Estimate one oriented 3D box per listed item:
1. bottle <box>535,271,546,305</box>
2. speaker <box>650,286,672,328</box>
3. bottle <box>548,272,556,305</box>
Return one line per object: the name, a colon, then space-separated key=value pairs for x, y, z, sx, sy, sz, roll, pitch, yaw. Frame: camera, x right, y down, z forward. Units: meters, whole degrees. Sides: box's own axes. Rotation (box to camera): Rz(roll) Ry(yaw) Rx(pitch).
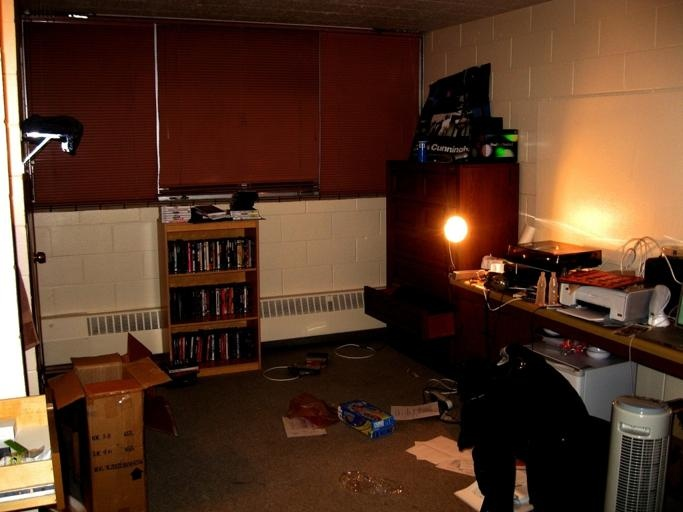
bottle: x=1.314 y=0.210 z=3.583 sx=0.069 sy=0.208 sz=0.169 roll=4 pitch=14 yaw=21
speaker: x=1.832 y=0.276 z=3.137 sx=0.108 sy=0.223 sz=0.205 roll=6 pitch=15 yaw=29
bottle: x=1.367 y=0.215 z=3.528 sx=0.061 sy=0.194 sz=0.117 roll=4 pitch=14 yaw=20
